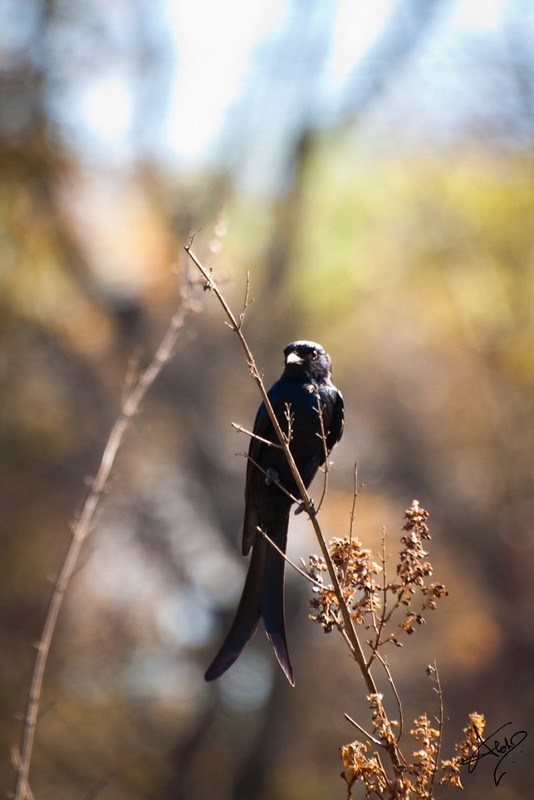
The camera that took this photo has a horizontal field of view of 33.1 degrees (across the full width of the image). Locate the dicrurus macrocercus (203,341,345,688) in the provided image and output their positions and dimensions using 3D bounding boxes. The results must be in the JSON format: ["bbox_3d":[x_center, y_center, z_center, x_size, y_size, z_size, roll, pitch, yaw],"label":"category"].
[{"bbox_3d":[0.040,0.336,3.167,0.452,0.410,1.264,8,-85,-3],"label":"dicrurus macrocercus"}]
